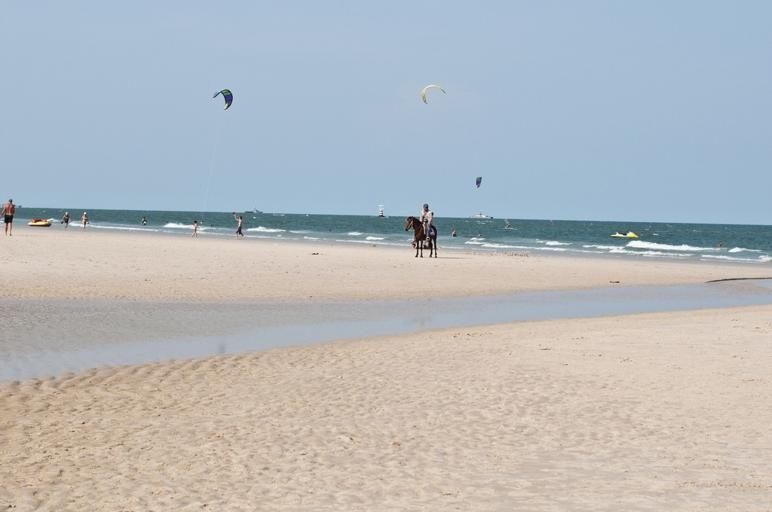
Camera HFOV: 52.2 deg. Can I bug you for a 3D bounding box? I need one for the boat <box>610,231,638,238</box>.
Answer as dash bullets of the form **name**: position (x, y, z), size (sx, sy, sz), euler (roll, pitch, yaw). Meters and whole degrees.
- **boat**: position (38.558, -3.536, 127.828), size (3.568, 0.973, 1.541), euler (-2, 5, -5)
